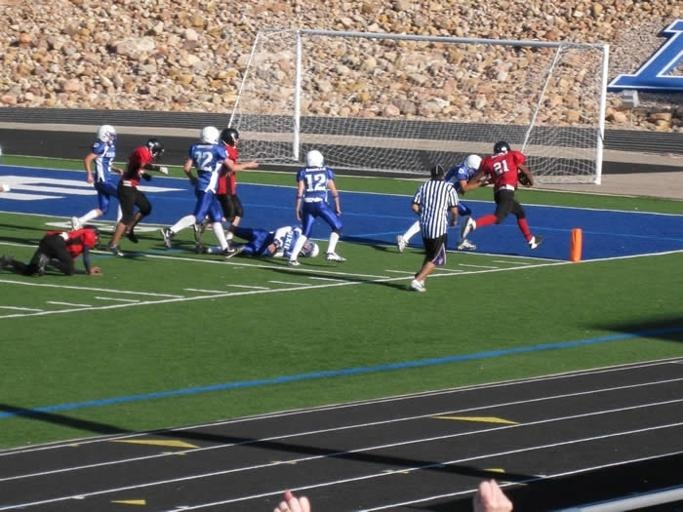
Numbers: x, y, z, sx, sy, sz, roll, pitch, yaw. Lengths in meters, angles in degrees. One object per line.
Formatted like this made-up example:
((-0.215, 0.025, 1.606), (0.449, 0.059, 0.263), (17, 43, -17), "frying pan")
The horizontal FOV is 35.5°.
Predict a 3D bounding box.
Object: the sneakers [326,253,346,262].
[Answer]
((-0.025, 0.031, 17.122), (0.390, 0.125, 0.115), (0, -10, -14), "sneakers")

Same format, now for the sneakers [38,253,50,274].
((-4.428, 0.118, 15.684), (0.146, 0.292, 0.154), (18, 8, -28), "sneakers")

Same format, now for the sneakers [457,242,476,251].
((2.238, -0.159, 18.480), (0.454, 0.161, 0.117), (-1, 43, -3), "sneakers")

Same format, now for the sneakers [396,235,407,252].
((1.032, -0.204, 17.974), (0.209, 0.284, 0.121), (-3, 14, -3), "sneakers")

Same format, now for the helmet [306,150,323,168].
((-0.428, -1.552, 16.972), (0.324, 0.265, 0.329), (0, -3, -4), "helmet")

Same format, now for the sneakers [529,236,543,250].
((3.324, -0.215, 18.081), (0.366, 0.131, 0.117), (-27, 40, -29), "sneakers")

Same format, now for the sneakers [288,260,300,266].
((-0.755, 0.113, 16.999), (0.081, 0.066, 0.188), (5, 6, 34), "sneakers")

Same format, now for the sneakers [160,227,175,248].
((-2.929, -0.303, 17.854), (0.309, 0.316, 0.130), (-7, 23, 10), "sneakers")

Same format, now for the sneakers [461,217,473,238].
((2.105, -0.455, 17.649), (0.221, 0.350, 0.154), (17, 9, 3), "sneakers")
